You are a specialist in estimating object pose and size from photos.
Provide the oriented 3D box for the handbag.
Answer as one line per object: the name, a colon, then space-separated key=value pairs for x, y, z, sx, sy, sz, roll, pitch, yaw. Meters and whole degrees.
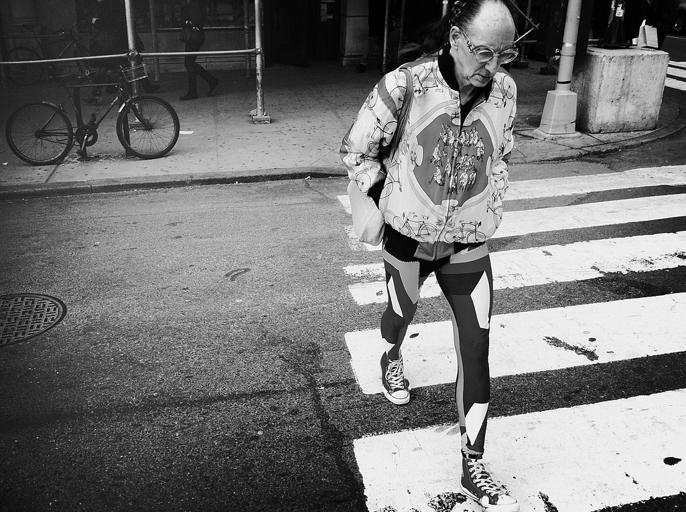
handbag: x=0.145 y=-0.317 z=3.805 sx=0.160 sy=0.421 sz=0.378 roll=13 pitch=22 yaw=36

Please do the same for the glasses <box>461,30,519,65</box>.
glasses: x=0.816 y=-1.117 z=3.221 sx=0.207 sy=0.067 sz=0.217 roll=-2 pitch=52 yaw=-18
